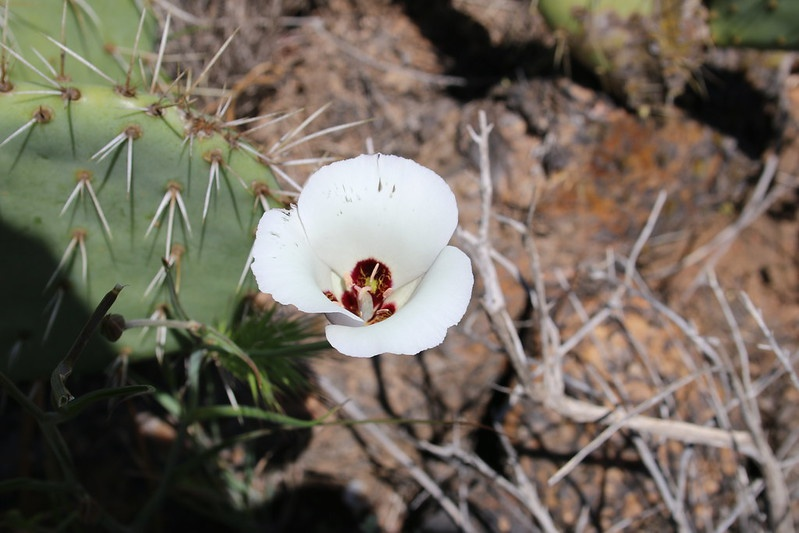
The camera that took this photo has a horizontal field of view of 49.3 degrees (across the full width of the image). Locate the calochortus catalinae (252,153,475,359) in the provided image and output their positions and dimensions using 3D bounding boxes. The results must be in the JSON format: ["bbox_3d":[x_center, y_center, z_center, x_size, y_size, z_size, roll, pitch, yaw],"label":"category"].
[{"bbox_3d":[-0.096,0.021,2.621,0.722,0.327,0.708,1,50,-29],"label":"calochortus catalinae"}]
